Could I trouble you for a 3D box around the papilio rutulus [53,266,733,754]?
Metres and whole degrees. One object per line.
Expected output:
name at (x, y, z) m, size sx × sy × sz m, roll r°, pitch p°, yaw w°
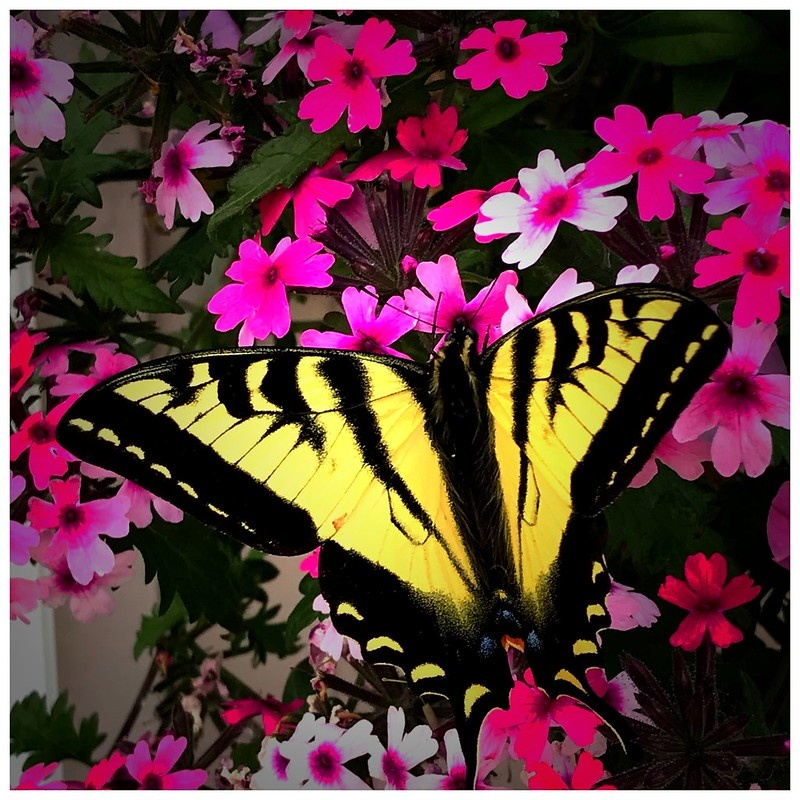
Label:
papilio rutulus at (0.060, 0.136, 1.162) m, size 0.705 × 0.535 × 0.400 m, roll -12°, pitch 29°, yaw -5°
